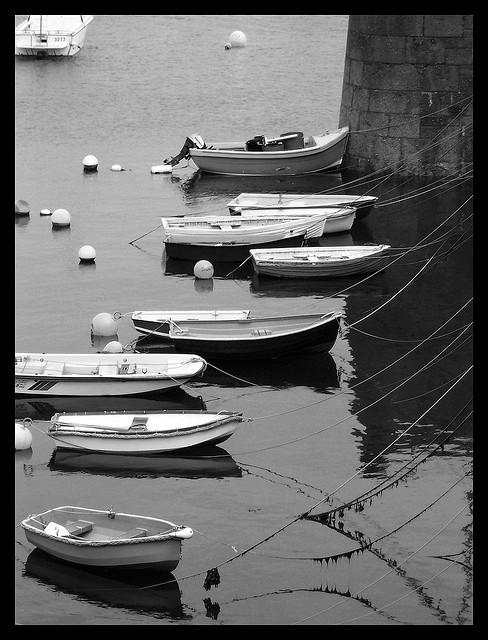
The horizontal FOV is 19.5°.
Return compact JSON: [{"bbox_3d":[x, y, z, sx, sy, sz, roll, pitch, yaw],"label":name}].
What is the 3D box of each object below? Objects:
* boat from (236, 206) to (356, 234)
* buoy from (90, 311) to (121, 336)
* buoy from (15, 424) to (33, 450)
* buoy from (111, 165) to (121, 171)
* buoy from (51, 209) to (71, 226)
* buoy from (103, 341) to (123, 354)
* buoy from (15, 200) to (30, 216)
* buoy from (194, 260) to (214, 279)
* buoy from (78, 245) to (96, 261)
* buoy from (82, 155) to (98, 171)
[{"bbox_3d":[1.069,-1.885,27.408,2.339,0.598,0.808,2,34,3],"label":"boat"},{"bbox_3d":[-2.114,0.067,21.905,0.471,0.359,0.446,0,-10,-7],"label":"buoy"},{"bbox_3d":[-2.805,1.474,18.180,0.207,0.337,0.799,0,-10,-8],"label":"buoy"},{"bbox_3d":[-2.922,-3.510,32.858,0.151,0.078,0.150,2,19,0],"label":"buoy"},{"bbox_3d":[-3.591,-2.021,28.041,0.317,0.259,0.320,23,32,39],"label":"buoy"},{"bbox_3d":[-1.886,0.397,20.732,0.258,0.203,0.353,0,-10,-5],"label":"buoy"},{"bbox_3d":[-4.484,-2.275,28.903,0.239,0.448,0.830,0,-10,-5],"label":"buoy"},{"bbox_3d":[-0.664,-0.887,24.840,0.309,0.308,0.304,-1,1,5],"label":"buoy"},{"bbox_3d":[-2.817,-1.194,25.742,0.276,0.289,0.300,0,-9,-9],"label":"buoy"},{"bbox_3d":[-3.479,-3.601,32.685,0.327,0.322,0.329,3,-40,5],"label":"buoy"}]
